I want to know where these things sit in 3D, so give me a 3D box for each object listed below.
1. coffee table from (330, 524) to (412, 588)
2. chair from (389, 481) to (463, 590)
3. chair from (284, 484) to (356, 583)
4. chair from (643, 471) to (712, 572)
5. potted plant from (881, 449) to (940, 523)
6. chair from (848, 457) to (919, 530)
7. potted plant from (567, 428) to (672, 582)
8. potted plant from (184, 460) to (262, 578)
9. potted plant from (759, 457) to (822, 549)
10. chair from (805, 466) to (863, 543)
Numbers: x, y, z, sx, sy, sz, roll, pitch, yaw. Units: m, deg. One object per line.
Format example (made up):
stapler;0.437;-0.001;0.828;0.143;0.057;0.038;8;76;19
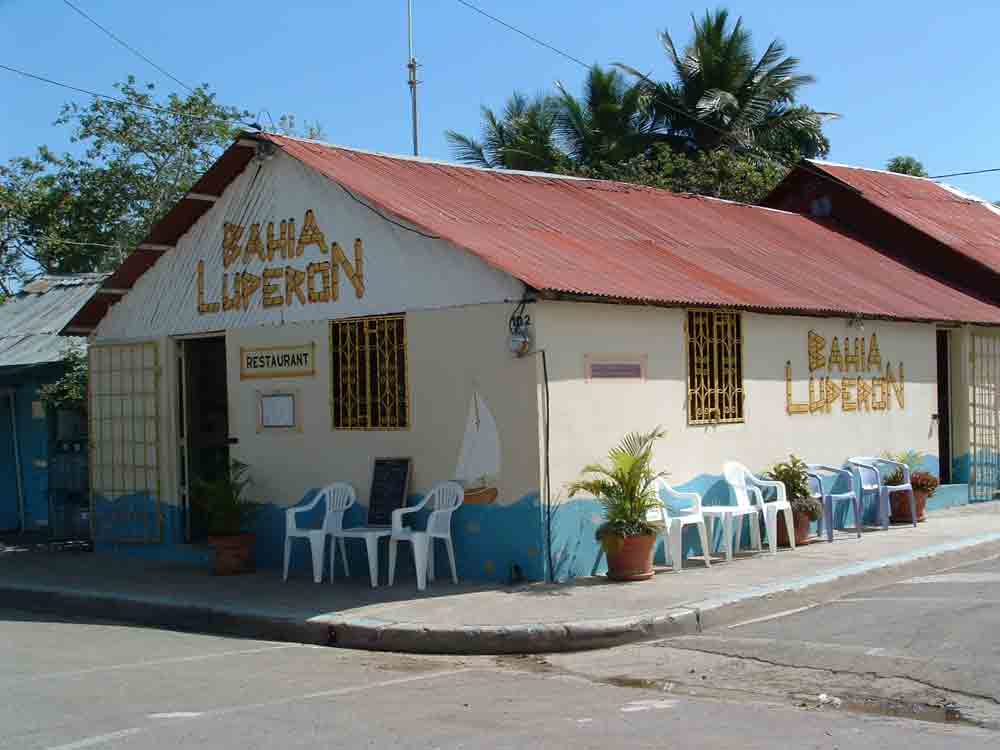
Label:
coffee table;-1.528;2.194;14.035;0.713;0.457;0.784;0;-19;22
chair;-0.943;1.871;13.770;0.757;1.146;1.020;4;-2;-44
chair;-2.241;2.077;14.770;0.799;1.298;0.890;-5;-13;-1
chair;2.128;1.851;14.447;0.912;1.546;0.926;2;-5;-44
potted plant;6.282;1.679;17.723;0.957;1.268;0.989;-3;-4;10
chair;5.615;1.688;16.919;0.649;0.927;0.645;-5;-6;-13
potted plant;1.608;1.561;13.597;0.922;1.726;1.190;-1;-5;1
potted plant;-3.732;1.882;15.728;0.809;1.431;1.690;3;-1;-17
potted plant;3.906;1.762;15.627;0.670;1.037;0.688;-2;-1;5
chair;4.786;1.777;16.280;0.589;0.915;0.656;-5;-1;16
